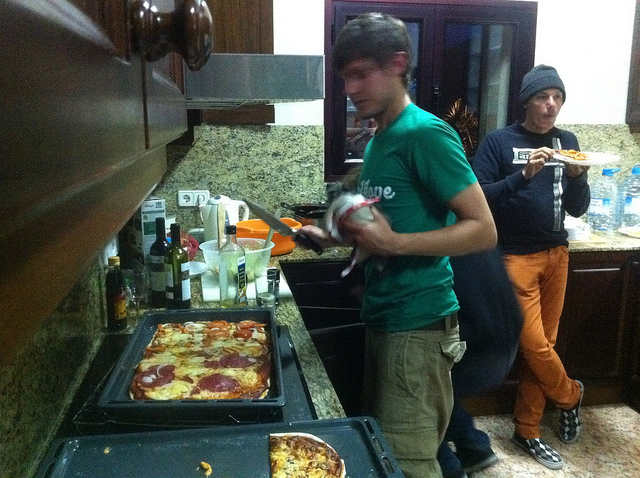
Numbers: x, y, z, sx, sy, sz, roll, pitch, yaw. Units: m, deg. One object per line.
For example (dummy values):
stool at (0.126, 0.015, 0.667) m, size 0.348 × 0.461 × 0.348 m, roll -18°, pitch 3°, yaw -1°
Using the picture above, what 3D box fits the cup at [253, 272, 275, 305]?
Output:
cup at (-0.191, 0.181, 1.661) m, size 0.086 × 0.125 × 0.082 m, roll -2°, pitch 2°, yaw 0°

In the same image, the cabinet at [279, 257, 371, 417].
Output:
cabinet at (0.005, 0.431, 2.226) m, size 0.413 × 0.553 × 0.766 m, roll -1°, pitch 13°, yaw 5°

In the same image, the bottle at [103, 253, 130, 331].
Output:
bottle at (-0.602, 0.164, 1.401) m, size 0.054 × 0.226 × 0.060 m, roll -11°, pitch 16°, yaw -31°

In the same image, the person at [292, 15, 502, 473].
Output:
person at (0.253, 0.156, 1.622) m, size 0.609 × 1.738 × 0.497 m, roll -5°, pitch 14°, yaw -7°

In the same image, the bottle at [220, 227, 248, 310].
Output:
bottle at (-0.292, 0.099, 1.568) m, size 0.094 × 0.251 × 0.209 m, roll -6°, pitch 14°, yaw -12°

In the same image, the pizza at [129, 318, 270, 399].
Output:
pizza at (-0.294, 0.297, 1.213) m, size 0.340 × 0.032 × 0.443 m, roll 3°, pitch 13°, yaw -4°

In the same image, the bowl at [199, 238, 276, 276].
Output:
bowl at (-0.332, 0.063, 1.907) m, size 0.200 × 0.069 × 0.203 m, roll 1°, pitch 4°, yaw 0°

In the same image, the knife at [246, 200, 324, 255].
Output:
knife at (-0.165, -0.044, 2.185) m, size 0.548 × 0.075 × 0.050 m, roll 36°, pitch 30°, yaw 29°

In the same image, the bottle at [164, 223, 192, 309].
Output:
bottle at (-0.468, 0.095, 1.546) m, size 0.086 × 0.292 × 0.181 m, roll -7°, pitch 14°, yaw -18°

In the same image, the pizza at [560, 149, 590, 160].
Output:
pizza at (1.282, -0.413, 2.408) m, size 0.126 × 0.041 × 0.174 m, roll 5°, pitch 14°, yaw 30°

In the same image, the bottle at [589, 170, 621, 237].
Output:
bottle at (1.943, -0.247, 3.254) m, size 0.206 × 0.409 × 0.422 m, roll 6°, pitch 15°, yaw 31°

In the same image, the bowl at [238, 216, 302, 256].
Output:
bowl at (-0.309, -0.047, 2.464) m, size 0.259 × 0.113 × 0.285 m, roll 11°, pitch 26°, yaw -6°
